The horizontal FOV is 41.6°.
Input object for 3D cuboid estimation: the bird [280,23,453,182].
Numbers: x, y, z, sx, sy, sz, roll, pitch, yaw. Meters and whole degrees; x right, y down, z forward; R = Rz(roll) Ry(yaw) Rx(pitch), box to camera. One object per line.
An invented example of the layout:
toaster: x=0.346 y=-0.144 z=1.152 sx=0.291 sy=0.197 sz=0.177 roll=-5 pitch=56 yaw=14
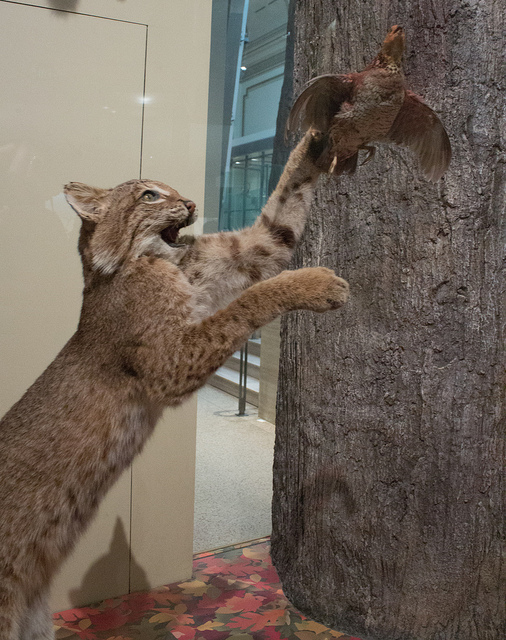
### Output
bird: x=0.292 y=-0.535 z=1.696 sx=0.465 sy=0.219 sz=0.372 roll=7 pitch=-21 yaw=-16

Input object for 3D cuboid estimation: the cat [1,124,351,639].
cat: x=-0.227 y=0.162 z=1.821 sx=0.885 sy=1.386 sz=0.374 roll=-1 pitch=5 yaw=-11
